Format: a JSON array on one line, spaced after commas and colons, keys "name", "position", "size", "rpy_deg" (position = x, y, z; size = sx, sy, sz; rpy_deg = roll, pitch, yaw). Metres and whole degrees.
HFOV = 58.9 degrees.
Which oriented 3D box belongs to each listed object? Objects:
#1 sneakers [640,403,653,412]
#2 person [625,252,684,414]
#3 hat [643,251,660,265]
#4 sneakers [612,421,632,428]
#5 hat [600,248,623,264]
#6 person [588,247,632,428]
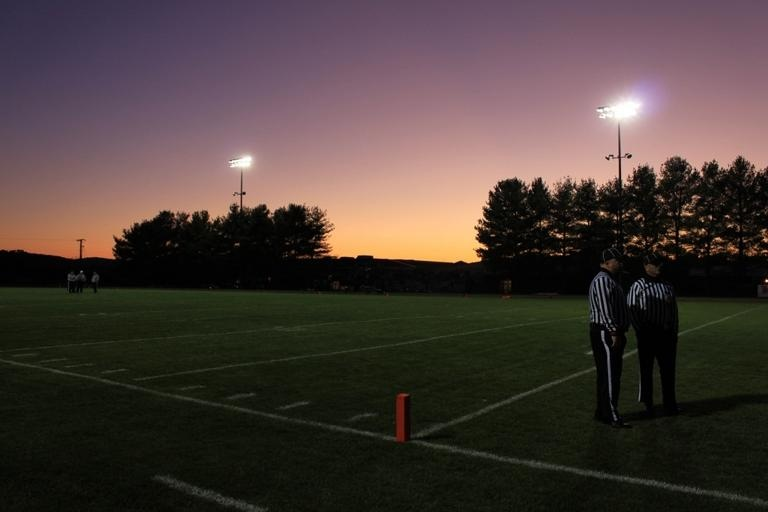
[{"name": "sneakers", "position": [4.222, 2.444, 10.957], "size": [0.141, 0.121, 0.143], "rpy_deg": [12, 9, 29]}, {"name": "person", "position": [4.251, 1.233, 10.808], "size": [0.757, 2.534, 1.213], "rpy_deg": [0, 1, 22]}, {"name": "hat", "position": [5.955, 0.017, 15.193], "size": [0.485, 0.267, 0.351], "rpy_deg": [-12, -5, 33]}, {"name": "sneakers", "position": [3.537, 2.506, 10.153], "size": [0.112, 0.119, 0.312], "rpy_deg": [3, -9, -33]}, {"name": "hat", "position": [3.524, -0.030, 10.434], "size": [0.335, 0.178, 0.233], "rpy_deg": [-17, 11, -18]}, {"name": "person", "position": [3.446, 1.205, 10.443], "size": [0.570, 2.655, 0.843], "rpy_deg": [0, 1, 17]}]
